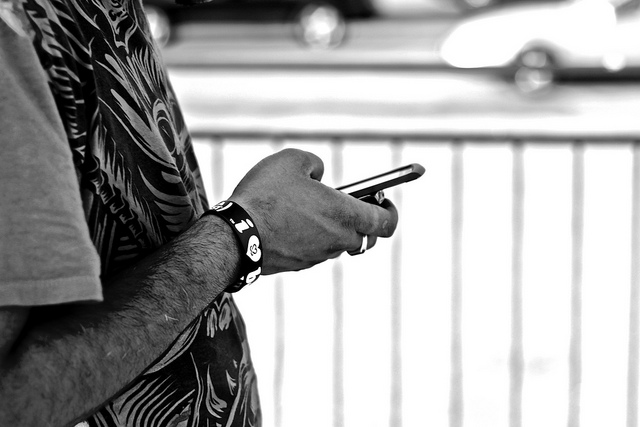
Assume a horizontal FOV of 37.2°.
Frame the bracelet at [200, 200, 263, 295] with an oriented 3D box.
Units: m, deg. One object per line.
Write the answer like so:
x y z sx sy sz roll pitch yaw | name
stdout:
-0.166 0.062 1.851 0.139 0.178 0.073 3 -3 -22 | bracelet

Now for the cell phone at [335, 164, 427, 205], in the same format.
0.140 -0.077 2.307 0.164 0.023 0.041 -21 -34 6 | cell phone

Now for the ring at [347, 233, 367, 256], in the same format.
0.079 0.061 1.971 0.048 0.049 0.031 8 -6 -43 | ring
